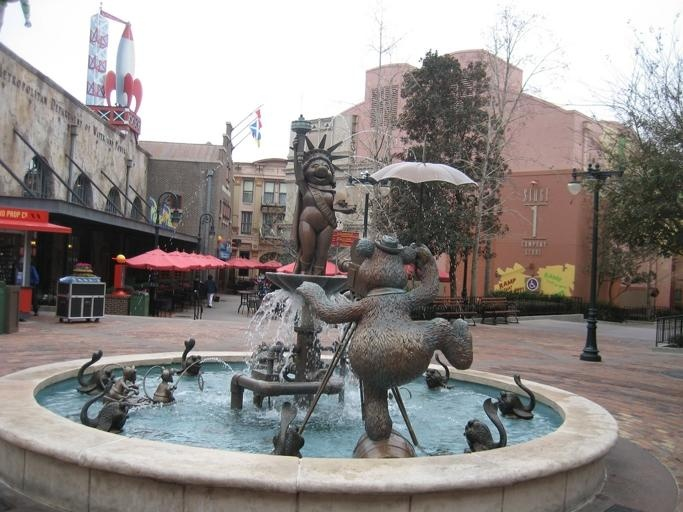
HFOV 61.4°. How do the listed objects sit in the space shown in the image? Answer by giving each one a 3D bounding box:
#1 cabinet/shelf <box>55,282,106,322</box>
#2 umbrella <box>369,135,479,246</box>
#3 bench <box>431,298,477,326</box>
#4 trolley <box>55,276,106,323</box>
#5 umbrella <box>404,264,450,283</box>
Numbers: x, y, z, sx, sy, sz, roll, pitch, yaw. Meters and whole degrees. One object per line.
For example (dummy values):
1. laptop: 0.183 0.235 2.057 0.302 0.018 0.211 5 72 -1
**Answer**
1. cabinet/shelf: -7.981 1.421 17.612 0.727 1.303 1.261 3 -1 28
2. umbrella: 1.075 -0.716 7.682 1.035 1.042 1.107 5 6 14
3. bench: 4.932 2.293 25.835 1.727 0.871 3.125 1 -3 9
4. trolley: -7.985 1.311 17.663 0.771 1.459 1.376 4 0 28
5. umbrella: 1.703 0.364 11.137 0.885 0.441 0.961 0 -5 2
